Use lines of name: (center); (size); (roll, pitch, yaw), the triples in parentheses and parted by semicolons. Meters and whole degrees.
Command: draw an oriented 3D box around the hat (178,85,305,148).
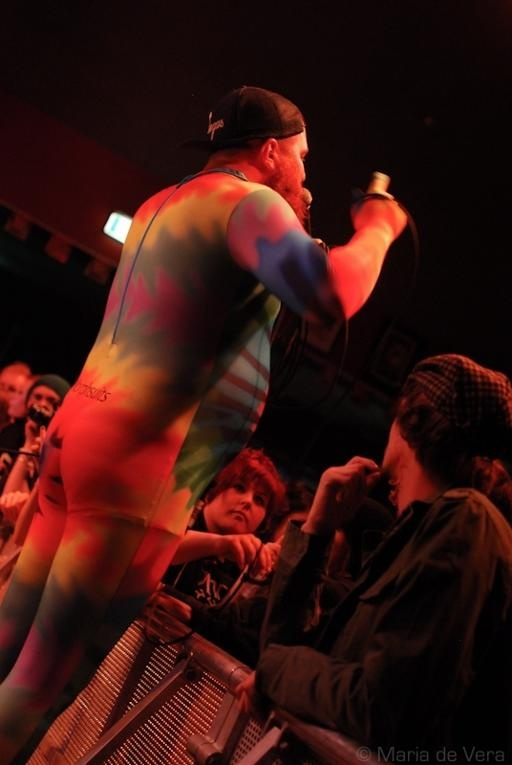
hat: (-0.015, -0.448, 1.056); (0.223, 0.105, 0.161); (-15, 20, -32)
